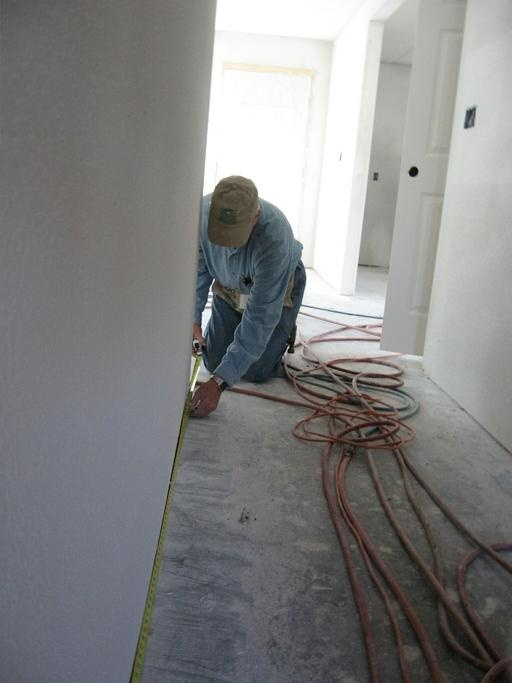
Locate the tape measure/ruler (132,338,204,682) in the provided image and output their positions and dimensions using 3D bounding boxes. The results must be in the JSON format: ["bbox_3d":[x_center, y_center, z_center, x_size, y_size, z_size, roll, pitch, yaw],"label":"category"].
[{"bbox_3d":[-0.180,0.225,1.339,0.026,0.040,1.090,34,43,-29],"label":"tape measure/ruler"}]

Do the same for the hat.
[{"bbox_3d":[-0.074,-0.436,1.813,0.144,0.243,0.243,11,17,9],"label":"hat"}]
